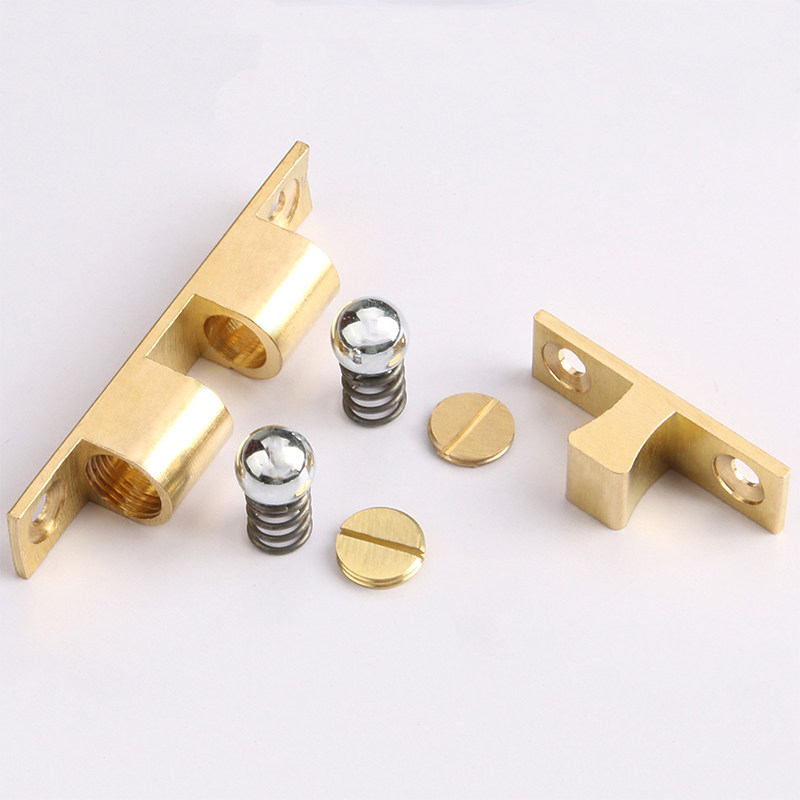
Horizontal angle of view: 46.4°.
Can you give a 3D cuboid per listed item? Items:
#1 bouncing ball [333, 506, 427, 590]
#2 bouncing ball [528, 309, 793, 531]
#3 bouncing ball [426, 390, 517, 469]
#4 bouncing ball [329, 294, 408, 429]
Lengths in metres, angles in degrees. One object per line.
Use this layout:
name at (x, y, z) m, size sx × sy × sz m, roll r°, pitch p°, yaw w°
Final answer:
bouncing ball at (-0.044, 0.343, 2.125) m, size 0.199 × 0.146 × 0.134 m, roll 3°, pitch 21°, yaw -2°
bouncing ball at (0.564, 0.089, 2.164) m, size 0.667 × 0.420 × 0.410 m, roll 15°, pitch 24°, yaw 23°
bouncing ball at (0.176, 0.068, 2.299) m, size 0.201 × 0.120 × 0.139 m, roll 5°, pitch 22°, yaw 3°
bouncing ball at (-0.069, -0.083, 2.239) m, size 0.175 × 0.362 × 0.292 m, roll 3°, pitch 21°, yaw 1°
